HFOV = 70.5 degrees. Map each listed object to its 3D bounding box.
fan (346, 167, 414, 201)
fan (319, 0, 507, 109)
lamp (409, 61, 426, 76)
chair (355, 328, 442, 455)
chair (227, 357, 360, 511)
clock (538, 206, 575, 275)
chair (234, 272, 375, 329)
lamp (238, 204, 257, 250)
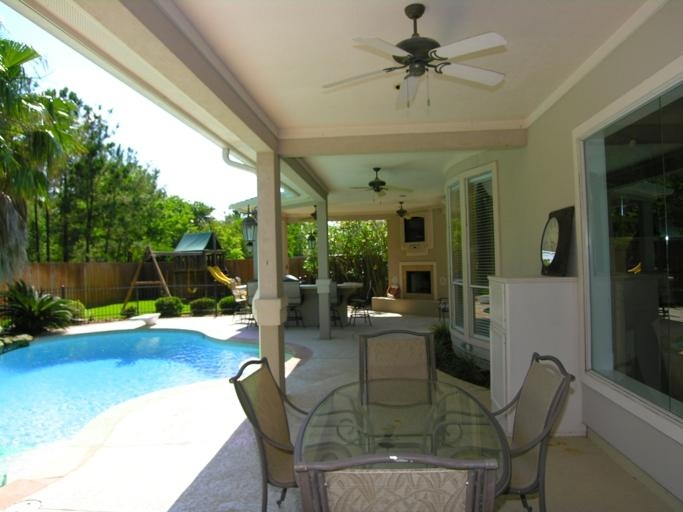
[{"bbox_3d":[0.694,-1.133,7.824,0.587,0.296,0.669,4,-5,-30],"label":"fan"},{"bbox_3d":[0.658,-1.562,3.718,1.220,0.595,0.863,0,-1,0],"label":"fan"},{"bbox_3d":[0.569,-1.401,3.700,0.136,0.067,0.140,0,-2,-25],"label":"lamp"},{"bbox_3d":[0.333,0.963,3.996,0.526,1.034,0.583,-1,-15,7],"label":"chair"},{"bbox_3d":[-0.221,1.280,3.837,0.933,1.451,0.863,-1,1,14],"label":"chair"},{"bbox_3d":[2.132,-0.140,4.966,0.750,0.681,0.081,-5,11,-41],"label":"clock"},{"bbox_3d":[-0.420,0.972,10.269,1.705,1.071,1.387,0,-1,-15],"label":"chair"},{"bbox_3d":[-1.944,-0.672,10.053,0.281,0.776,0.275,-3,-10,5],"label":"lamp"}]
